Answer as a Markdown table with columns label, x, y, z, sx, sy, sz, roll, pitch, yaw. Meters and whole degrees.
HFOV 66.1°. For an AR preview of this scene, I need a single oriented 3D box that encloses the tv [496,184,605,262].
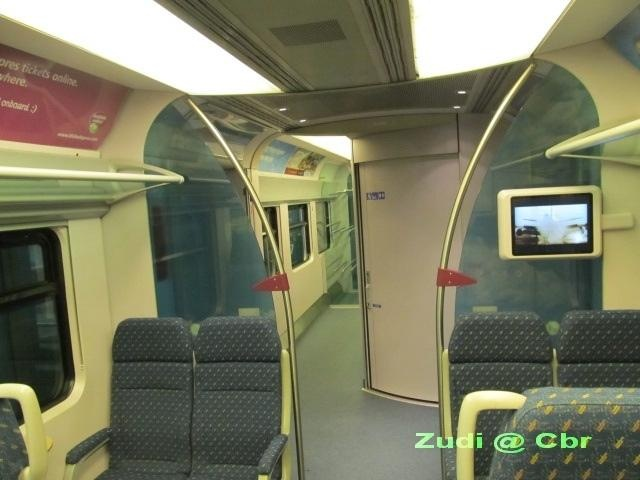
| label | x | y | z | sx | sy | sz | roll | pitch | yaw |
| --- | --- | --- | --- | --- | --- | --- | --- | --- | --- |
| tv | 1.726 | -0.139 | 3.621 | 0.612 | 0.436 | 0.083 | 0 | 1 | 10 |
